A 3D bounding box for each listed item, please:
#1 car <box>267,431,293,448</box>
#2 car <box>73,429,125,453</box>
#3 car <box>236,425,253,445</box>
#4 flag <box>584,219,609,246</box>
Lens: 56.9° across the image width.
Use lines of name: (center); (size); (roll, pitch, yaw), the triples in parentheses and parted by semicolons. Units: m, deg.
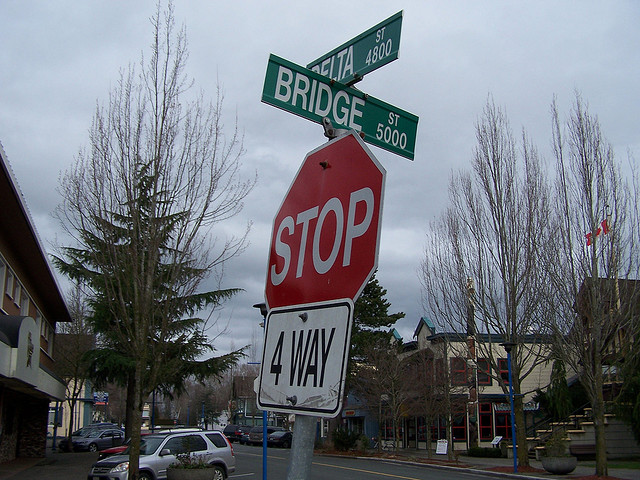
car: (-3.458, 17.013, 50.351); (1.920, 1.331, 1.242); (1, -18, -3)
car: (-15.065, 13.785, 40.479); (3.964, 1.524, 1.921); (7, -12, -22)
car: (-7.311, 19.101, 57.313); (1.202, 1.386, 2.249); (6, -11, -17)
flag: (11.521, -0.306, 24.512); (0.818, 0.947, 0.356); (-2, -16, 4)
